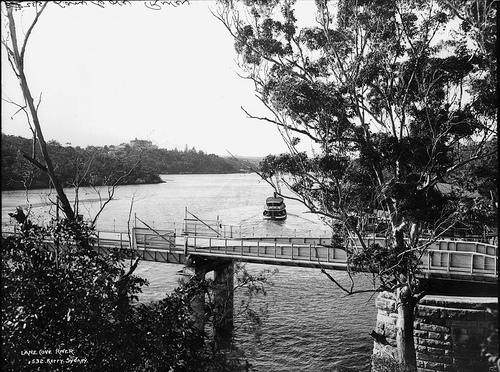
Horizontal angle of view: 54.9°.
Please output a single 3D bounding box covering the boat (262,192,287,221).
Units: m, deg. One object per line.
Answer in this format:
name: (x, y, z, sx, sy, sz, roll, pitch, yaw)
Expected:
boat: (3.137, 2.815, 61.942, 2.663, 3.086, 3.022, 1, 5, 3)
